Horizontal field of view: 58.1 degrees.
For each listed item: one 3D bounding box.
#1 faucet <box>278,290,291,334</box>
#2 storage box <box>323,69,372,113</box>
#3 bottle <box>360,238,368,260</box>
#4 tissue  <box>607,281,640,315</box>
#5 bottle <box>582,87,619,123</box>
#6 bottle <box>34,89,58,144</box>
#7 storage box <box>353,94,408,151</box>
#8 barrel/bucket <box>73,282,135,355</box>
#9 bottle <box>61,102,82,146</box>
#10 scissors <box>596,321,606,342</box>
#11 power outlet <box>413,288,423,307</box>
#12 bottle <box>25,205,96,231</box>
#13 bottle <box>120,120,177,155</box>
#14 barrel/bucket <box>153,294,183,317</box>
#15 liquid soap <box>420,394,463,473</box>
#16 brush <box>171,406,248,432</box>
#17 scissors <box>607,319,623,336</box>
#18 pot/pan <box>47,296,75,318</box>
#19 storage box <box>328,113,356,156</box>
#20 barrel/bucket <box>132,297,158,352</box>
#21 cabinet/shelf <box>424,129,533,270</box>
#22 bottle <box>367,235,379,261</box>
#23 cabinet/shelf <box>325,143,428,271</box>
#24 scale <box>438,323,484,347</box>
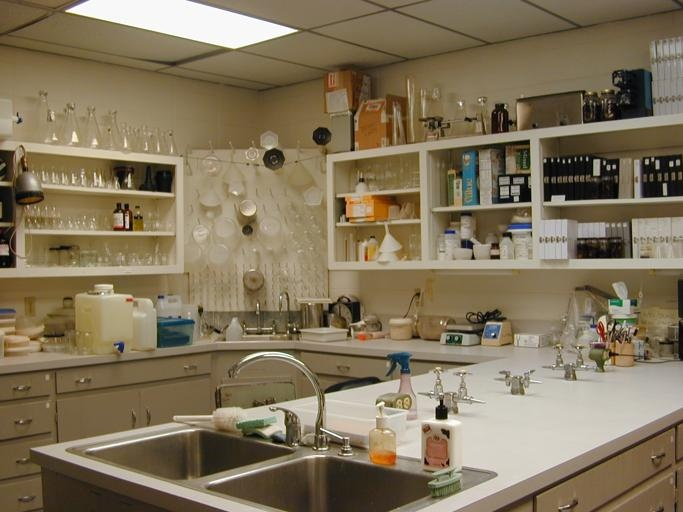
[{"bbox_3d":[-0.495,0.474,5.299,0.111,0.254,0.200,-1,1,-5],"label":"faucet"},{"bbox_3d":[0.038,-1.415,5.342,0.367,0.339,0.381,0,9,44],"label":"storage box"},{"bbox_3d":[0.173,-0.048,4.979,0.067,0.157,0.097,-1,1,2],"label":"bottle"},{"bbox_3d":[1.729,0.262,3.802,0.162,0.238,0.165,8,-9,-13],"label":"tissue "},{"bbox_3d":[1.683,-0.963,3.994,0.194,0.207,0.204,0,-1,25],"label":"bottle"},{"bbox_3d":[-2.244,-1.069,4.677,0.153,0.406,0.445,-1,1,-27],"label":"bottle"},{"bbox_3d":[0.320,-1.092,5.031,0.397,0.409,0.306,2,8,44],"label":"storage box"},{"bbox_3d":[-1.689,0.436,4.371,0.339,0.481,0.268,4,5,31],"label":"barrel/bucket"},{"bbox_3d":[-2.061,-0.992,4.683,0.112,0.294,0.245,-1,1,-27],"label":"bottle"},{"bbox_3d":[1.575,0.459,3.748,0.051,0.113,0.131,-1,1,21],"label":"scissors"},{"bbox_3d":[0.635,0.342,5.114,0.106,0.217,0.111,0,-3,10],"label":"power outlet"},{"bbox_3d":[-2.103,-0.298,4.663,0.563,0.174,0.344,-2,1,-35],"label":"bottle"},{"bbox_3d":[-1.620,-0.969,5.035,0.188,0.297,0.672,2,7,29],"label":"bottle"},{"bbox_3d":[-1.378,0.389,4.893,0.124,0.249,0.216,-8,-11,34],"label":"barrel/bucket"},{"bbox_3d":[0.331,0.597,2.059,0.124,0.246,0.090,-1,-3,35],"label":"liquid soap"},{"bbox_3d":[-0.524,0.668,2.526,0.219,0.089,0.136,1,-3,8],"label":"brush"},{"bbox_3d":[1.636,0.437,3.707,0.059,0.112,0.022,7,-15,14],"label":"scissors"},{"bbox_3d":[-2.147,0.375,4.699,0.151,0.127,0.172,3,-4,-39],"label":"pot/pan"},{"bbox_3d":[-0.028,-1.040,5.227,0.254,0.324,0.257,-9,11,-11],"label":"storage box"},{"bbox_3d":[-1.438,0.496,4.470,0.207,0.335,0.205,-2,9,0],"label":"barrel/bucket"},{"bbox_3d":[1.083,-0.379,4.607,0.327,0.978,0.941,-8,7,-40],"label":"cabinet/shelf"},{"bbox_3d":[0.243,-0.068,4.935,0.082,0.195,0.204,-1,1,2],"label":"bottle"},{"bbox_3d":[0.291,-0.402,4.920,0.889,0.945,0.310,-5,-9,34],"label":"cabinet/shelf"},{"bbox_3d":[0.888,0.577,4.550,0.305,0.147,0.222,-1,1,11],"label":"scale"}]
